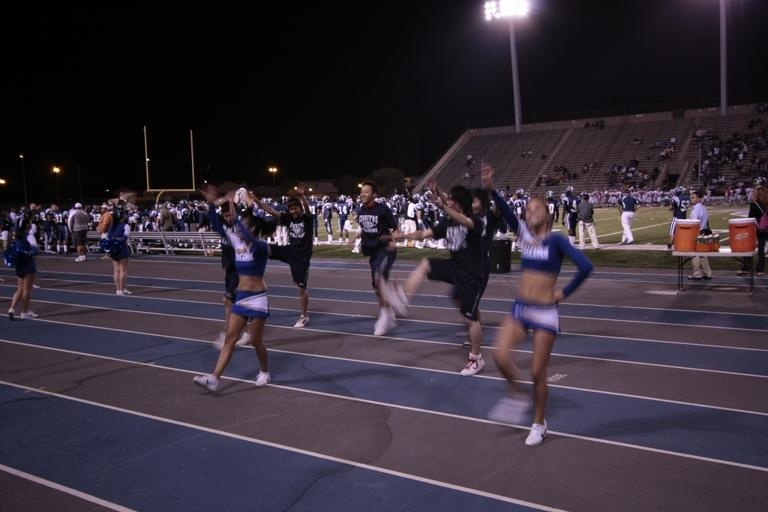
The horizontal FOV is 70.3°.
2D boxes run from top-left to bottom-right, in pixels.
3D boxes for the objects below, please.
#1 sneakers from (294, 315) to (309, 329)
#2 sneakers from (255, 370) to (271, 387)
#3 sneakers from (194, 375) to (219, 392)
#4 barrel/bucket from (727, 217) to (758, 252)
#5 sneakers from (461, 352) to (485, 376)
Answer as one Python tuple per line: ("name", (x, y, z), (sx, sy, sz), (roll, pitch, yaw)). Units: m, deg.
("sneakers", (-1.506, 1.221, 10.136), (0.125, 0.153, 0.379), (-5, -2, 15))
("sneakers", (-1.618, 1.610, 7.270), (0.239, 0.178, 0.248), (-6, 12, -21))
("sneakers", (-2.220, 1.595, 6.825), (0.319, 0.110, 0.145), (21, 49, 16))
("barrel/bucket", (7.337, -0.396, 11.100), (0.697, 0.749, 0.690), (-1, 0, 0))
("sneakers", (1.233, 1.470, 7.513), (0.423, 0.280, 0.233), (-5, 12, -15))
